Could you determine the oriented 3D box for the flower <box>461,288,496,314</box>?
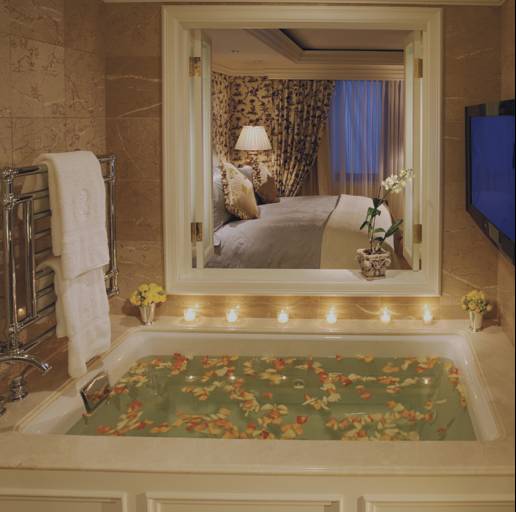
[{"bbox_3d":[1.185,0.229,2.482,0.167,0.143,0.155,-1,9,-8],"label":"flower"}]

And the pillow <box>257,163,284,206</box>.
[{"bbox_3d":[0.137,-0.801,5.309,0.144,0.433,0.433,-14,-24,19],"label":"pillow"}]

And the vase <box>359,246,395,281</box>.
[{"bbox_3d":[0.758,0.043,2.915,0.203,0.157,0.214,0,5,5],"label":"vase"}]

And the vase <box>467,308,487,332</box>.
[{"bbox_3d":[1.173,0.342,2.466,0.131,0.120,0.108,0,14,7],"label":"vase"}]

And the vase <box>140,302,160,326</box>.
[{"bbox_3d":[-0.608,0.338,2.590,0.130,0.122,0.118,1,2,1],"label":"vase"}]

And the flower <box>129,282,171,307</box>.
[{"bbox_3d":[-0.608,0.210,2.582,0.178,0.066,0.163,-12,30,-33],"label":"flower"}]

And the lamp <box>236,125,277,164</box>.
[{"bbox_3d":[-0.072,-1.577,6.257,0.531,0.487,0.523,-2,15,-8],"label":"lamp"}]

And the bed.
[{"bbox_3d":[0.343,-0.239,3.677,1.264,0.471,1.169,-1,17,3],"label":"bed"}]
